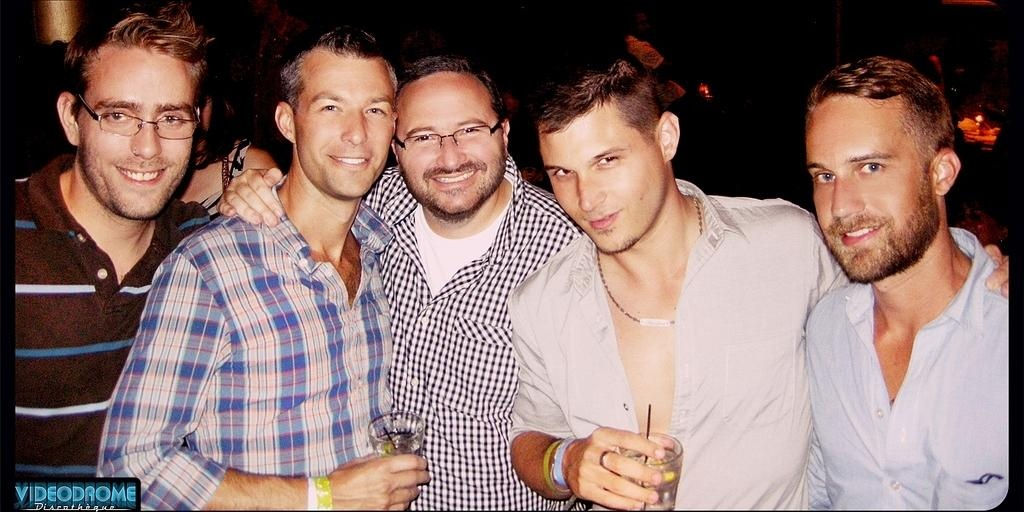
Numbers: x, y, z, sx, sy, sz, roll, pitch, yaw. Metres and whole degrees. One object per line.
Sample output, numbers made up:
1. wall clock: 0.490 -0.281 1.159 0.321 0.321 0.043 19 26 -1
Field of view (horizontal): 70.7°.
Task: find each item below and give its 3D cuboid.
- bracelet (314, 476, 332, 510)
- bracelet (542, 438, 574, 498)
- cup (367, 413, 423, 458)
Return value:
1. bracelet: -1.340 1.691 5.150 0.129 0.194 0.058 -3 -2 2
2. bracelet: 0.323 1.535 5.285 0.307 0.339 0.355 -4 -37 -2
3. cup: -0.841 1.295 5.254 0.362 0.250 0.345 -2 25 1
